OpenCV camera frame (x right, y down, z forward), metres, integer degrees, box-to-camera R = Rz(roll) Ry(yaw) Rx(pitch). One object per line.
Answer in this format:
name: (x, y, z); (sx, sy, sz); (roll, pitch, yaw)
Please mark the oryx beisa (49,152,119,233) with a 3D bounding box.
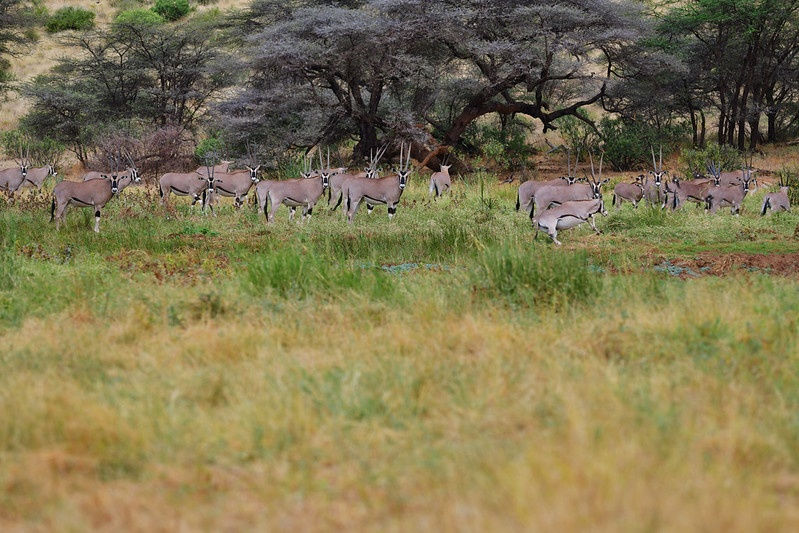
oryx beisa: (-8.652, -1.749, 28.323); (1.846, 1.529, 1.498); (0, 6, 3)
